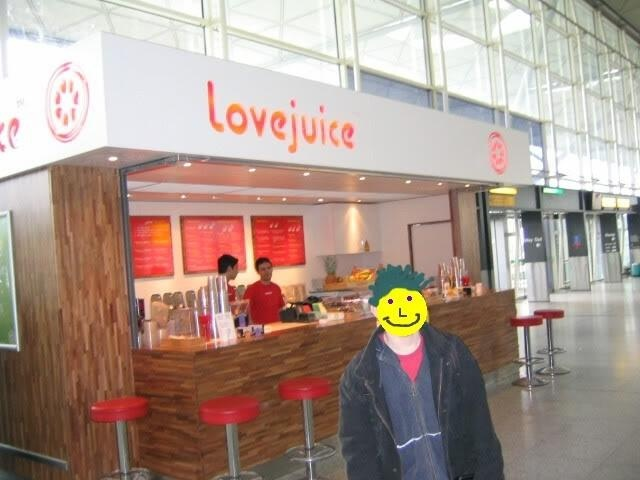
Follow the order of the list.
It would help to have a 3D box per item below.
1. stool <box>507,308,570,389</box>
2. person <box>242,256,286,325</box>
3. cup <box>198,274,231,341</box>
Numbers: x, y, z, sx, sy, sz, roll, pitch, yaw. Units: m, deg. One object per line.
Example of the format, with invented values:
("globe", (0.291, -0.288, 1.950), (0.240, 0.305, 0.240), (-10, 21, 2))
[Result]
("stool", (3.299, 1.690, 7.371), (0.891, 0.785, 0.396), (-6, 2, -39))
("person", (-0.706, 0.641, 6.145), (0.509, 0.828, 0.407), (-4, 0, -13))
("cup", (-1.023, 0.649, 4.631), (0.330, 0.597, 0.241), (-4, 0, 9))
